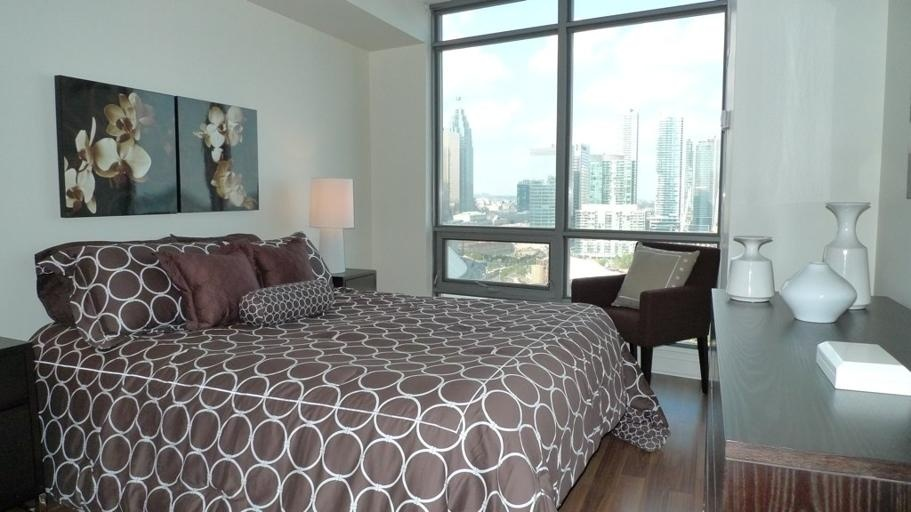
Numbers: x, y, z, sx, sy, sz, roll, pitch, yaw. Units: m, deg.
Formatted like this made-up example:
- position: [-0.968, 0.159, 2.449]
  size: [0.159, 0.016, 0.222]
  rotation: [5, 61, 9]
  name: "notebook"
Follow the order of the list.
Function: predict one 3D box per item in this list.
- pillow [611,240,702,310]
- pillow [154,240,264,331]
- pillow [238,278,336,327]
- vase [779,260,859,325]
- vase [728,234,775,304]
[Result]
- position: [1.777, 0.172, 5.447]
  size: [0.192, 0.590, 0.599]
  rotation: [28, -8, -31]
  name: "pillow"
- position: [-1.705, 0.190, 4.233]
  size: [0.577, 0.540, 0.168]
  rotation: [0, -25, -41]
  name: "pillow"
- position: [-1.203, 0.320, 4.374]
  size: [0.263, 0.206, 0.588]
  rotation: [-1, 5, 40]
  name: "pillow"
- position: [1.887, 0.191, 3.145]
  size: [0.330, 0.267, 0.348]
  rotation: [-2, 4, 26]
  name: "vase"
- position: [1.737, 0.069, 3.545]
  size: [0.359, 0.485, 0.361]
  rotation: [0, 4, 26]
  name: "vase"
